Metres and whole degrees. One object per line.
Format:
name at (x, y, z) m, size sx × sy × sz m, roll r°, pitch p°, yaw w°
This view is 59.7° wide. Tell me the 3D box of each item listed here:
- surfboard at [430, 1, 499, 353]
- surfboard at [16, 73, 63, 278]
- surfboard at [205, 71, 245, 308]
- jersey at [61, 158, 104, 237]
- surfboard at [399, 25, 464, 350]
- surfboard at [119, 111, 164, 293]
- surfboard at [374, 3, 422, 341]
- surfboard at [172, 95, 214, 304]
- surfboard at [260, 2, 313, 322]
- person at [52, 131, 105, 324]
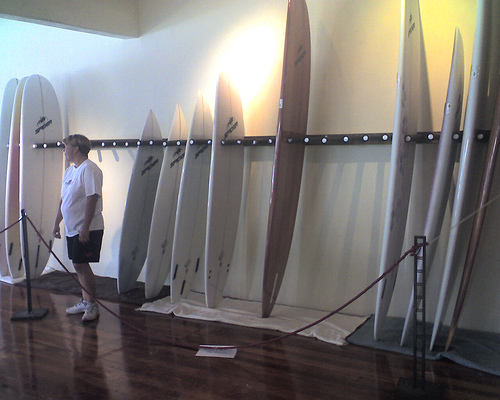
surfboard at (1.432, -0.148, 2.850) m, size 0.314 × 2.287 × 0.617 m, roll 4°, pitch 9°, yaw 30°
surfboard at (-2.117, -0.389, 4.443) m, size 0.349 × 1.714 × 1.533 m, roll -1°, pitch -11°, yaw -28°
surfboard at (-0.186, -0.109, 3.697) m, size 0.355 × 1.908 × 0.131 m, roll 4°, pitch 1°, yaw 36°
jersey at (-1.337, -0.024, 3.422) m, size 0.395 × 0.601 × 0.195 m, roll 4°, pitch 9°, yaw 29°
surfboard at (1.270, -0.157, 3.020) m, size 0.129 × 2.303 × 0.233 m, roll 7°, pitch -1°, yaw 6°
surfboard at (-1.013, 0.108, 3.988) m, size 0.163 × 2.034 × 0.286 m, roll 5°, pitch -6°, yaw 39°
surfboard at (0.931, -0.027, 3.053) m, size 0.176 × 2.518 × 0.415 m, roll 4°, pitch 8°, yaw 24°
surfboard at (-0.502, 0.035, 3.753) m, size 0.164 × 1.966 × 0.323 m, roll 3°, pitch -4°, yaw 39°
surfboard at (0.285, -0.323, 3.420) m, size 0.170 × 2.463 × 0.644 m, roll 5°, pitch 10°, yaw 37°
person at (-1.418, 0.185, 3.637) m, size 0.422 × 1.468 × 0.942 m, roll -5°, pitch 9°, yaw -29°
